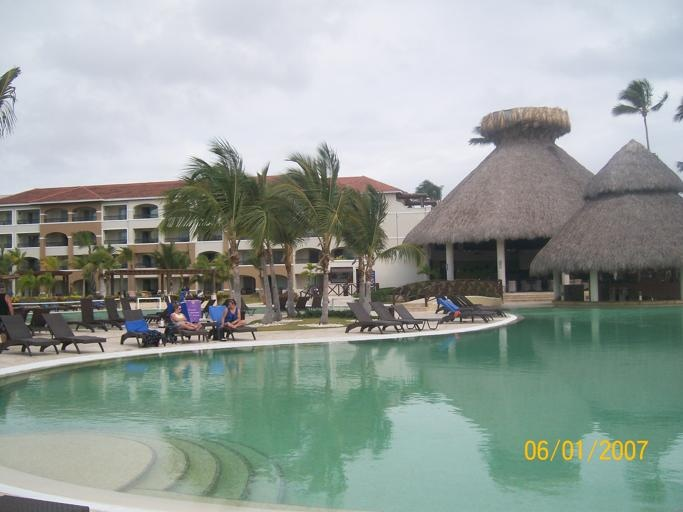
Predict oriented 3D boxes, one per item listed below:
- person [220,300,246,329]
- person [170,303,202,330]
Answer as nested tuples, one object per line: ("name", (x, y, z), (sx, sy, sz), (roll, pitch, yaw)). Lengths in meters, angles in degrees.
("person", (-2.908, 1.599, 18.468), (0.704, 0.828, 0.681), (1, -3, -26))
("person", (-4.087, 1.695, 18.213), (1.082, 0.783, 0.472), (-2, -2, 32))
